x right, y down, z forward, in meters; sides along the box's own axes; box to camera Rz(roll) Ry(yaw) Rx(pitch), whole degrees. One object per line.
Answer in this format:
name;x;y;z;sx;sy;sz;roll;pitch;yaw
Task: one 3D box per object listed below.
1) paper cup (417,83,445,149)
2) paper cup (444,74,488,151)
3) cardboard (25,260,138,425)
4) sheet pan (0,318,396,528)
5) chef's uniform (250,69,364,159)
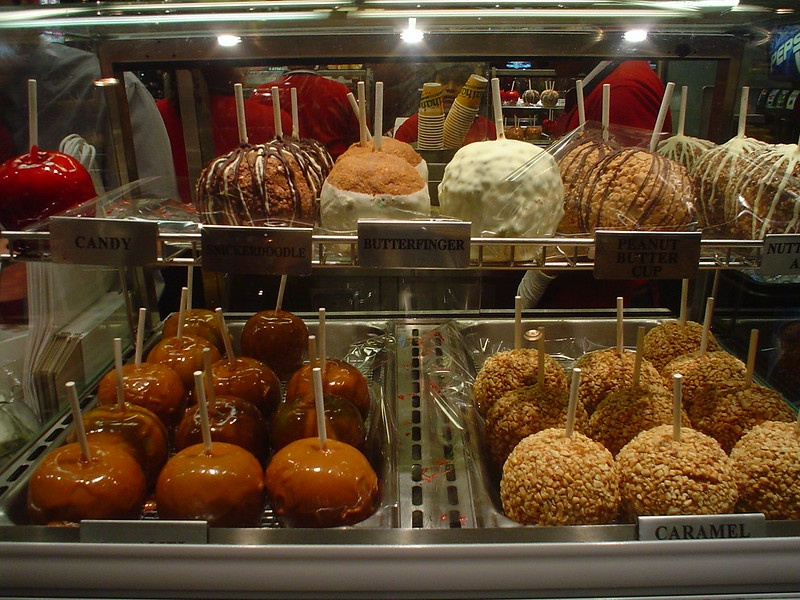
paper cup;0.054;-0.321;1.236;0.049;0.113;0.036;-1;16;1
paper cup;0.110;-0.323;1.216;0.074;0.122;0.065;0;16;3
cardboard;-0.639;0.060;1.403;0.076;0.265;0.186;-4;2;20
sheet pan;-0.312;0.199;1.143;0.597;0.229;0.386;-2;16;-5
chef's uniform;-0.178;-0.350;1.341;0.219;0.186;0.113;-2;34;-5
